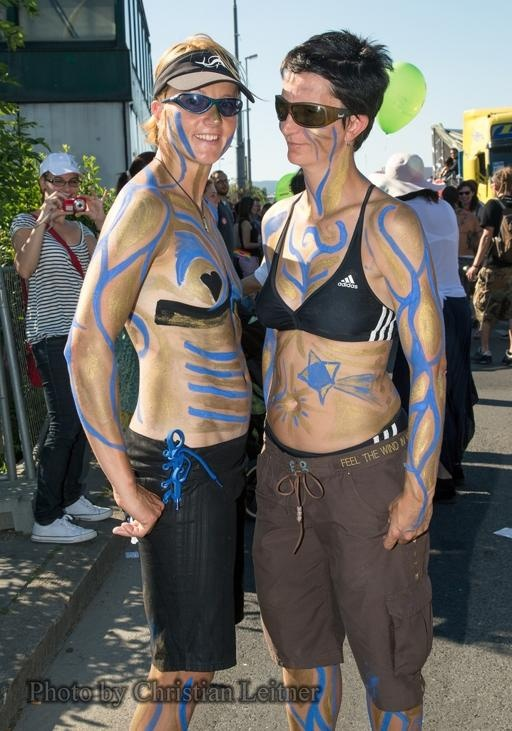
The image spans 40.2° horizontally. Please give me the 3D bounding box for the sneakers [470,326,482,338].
[{"bbox_3d":[3.586,-0.525,11.402,0.137,0.141,0.378,0,1,14],"label":"sneakers"}]

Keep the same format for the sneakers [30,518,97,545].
[{"bbox_3d":[-1.076,0.909,3.886,0.368,0.127,0.133,1,3,-6],"label":"sneakers"}]

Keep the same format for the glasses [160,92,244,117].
[{"bbox_3d":[-0.134,-0.705,1.896,0.191,0.050,0.182,-2,9,-35],"label":"glasses"}]

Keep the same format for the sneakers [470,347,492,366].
[{"bbox_3d":[3.033,-0.104,9.414,0.158,0.177,0.334,0,8,3],"label":"sneakers"}]

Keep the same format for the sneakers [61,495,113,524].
[{"bbox_3d":[-1.023,0.879,4.250,0.303,0.116,0.110,2,3,-9],"label":"sneakers"}]
